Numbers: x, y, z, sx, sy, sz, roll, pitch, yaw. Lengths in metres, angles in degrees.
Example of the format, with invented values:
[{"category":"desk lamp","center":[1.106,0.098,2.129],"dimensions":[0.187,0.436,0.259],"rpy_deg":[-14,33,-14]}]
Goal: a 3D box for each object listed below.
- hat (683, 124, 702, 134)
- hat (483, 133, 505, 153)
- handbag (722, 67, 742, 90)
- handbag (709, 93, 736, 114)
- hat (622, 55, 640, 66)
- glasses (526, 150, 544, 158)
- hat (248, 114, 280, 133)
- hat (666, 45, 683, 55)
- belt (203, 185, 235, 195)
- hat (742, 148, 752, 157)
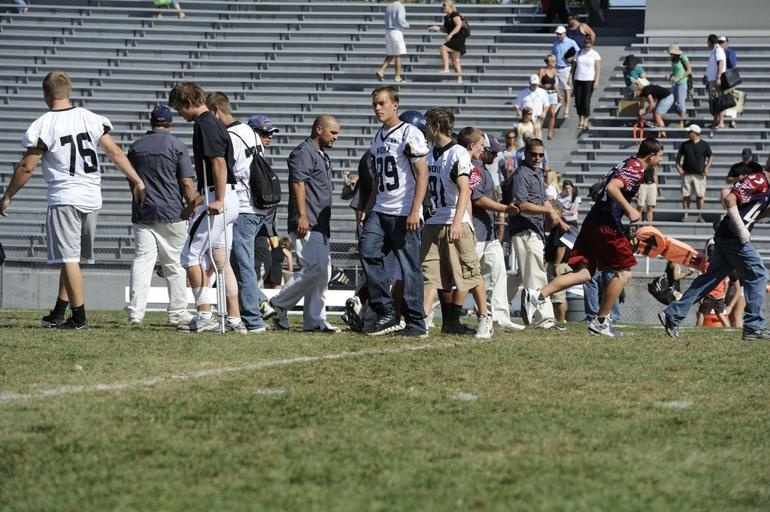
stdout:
[{"category":"hat","center":[6.414,-2.603,32.107],"dimensions":[0.330,0.167,0.243],"rpy_deg":[8,12,8]},{"category":"hat","center":[1.785,-1.815,25.955],"dimensions":[0.398,0.227,0.284],"rpy_deg":[26,24,6]},{"category":"handbag","center":[7.634,-3.892,34.060],"dimensions":[0.461,0.380,0.687],"rpy_deg":[-19,-10,28]},{"category":"handbag","center":[7.568,-3.366,34.525],"dimensions":[0.549,0.452,0.522],"rpy_deg":[3,1,12]},{"category":"hat","center":[5.645,-4.381,35.131],"dimensions":[0.362,0.259,0.504],"rpy_deg":[-1,1,2]},{"category":"glasses","center":[2.571,-1.677,25.999],"dimensions":[0.301,0.098,0.143],"rpy_deg":[2,1,-39]},{"category":"hat","center":[-1.989,-2.039,25.107],"dimensions":[0.513,0.249,0.327],"rpy_deg":[13,16,-2]},{"category":"hat","center":[6.551,-4.581,34.840],"dimensions":[0.346,0.165,0.428],"rpy_deg":[1,10,13]},{"category":"belt","center":[-2.532,-1.044,24.326],"dimensions":[0.658,0.106,0.230],"rpy_deg":[1,1,-43]},{"category":"hat","center":[7.310,-2.037,31.149],"dimensions":[0.194,0.159,0.316],"rpy_deg":[1,5,15]}]
